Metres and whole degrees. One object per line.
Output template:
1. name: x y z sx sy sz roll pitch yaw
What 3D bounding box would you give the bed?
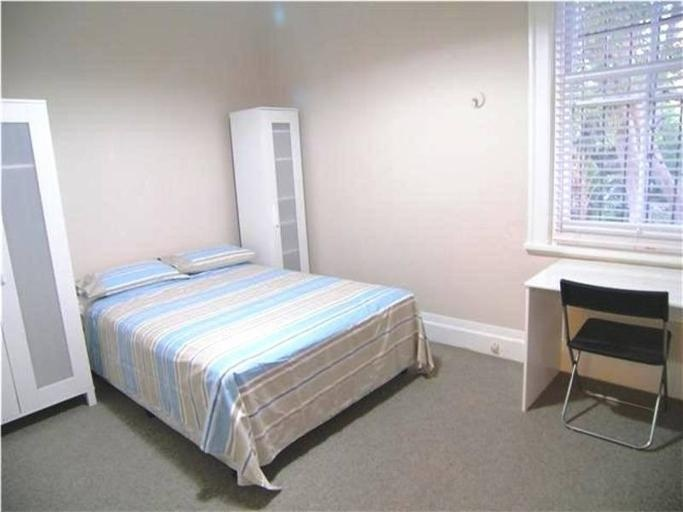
1. bed: -0.622 0.676 3.808 1.990 0.918 1.935 10 21 44

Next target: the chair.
1. chair: 1.800 0.604 3.186 0.626 1.027 0.706 6 19 36

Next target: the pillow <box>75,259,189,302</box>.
1. pillow: -1.768 0.191 4.045 0.348 0.112 0.504 17 23 41
